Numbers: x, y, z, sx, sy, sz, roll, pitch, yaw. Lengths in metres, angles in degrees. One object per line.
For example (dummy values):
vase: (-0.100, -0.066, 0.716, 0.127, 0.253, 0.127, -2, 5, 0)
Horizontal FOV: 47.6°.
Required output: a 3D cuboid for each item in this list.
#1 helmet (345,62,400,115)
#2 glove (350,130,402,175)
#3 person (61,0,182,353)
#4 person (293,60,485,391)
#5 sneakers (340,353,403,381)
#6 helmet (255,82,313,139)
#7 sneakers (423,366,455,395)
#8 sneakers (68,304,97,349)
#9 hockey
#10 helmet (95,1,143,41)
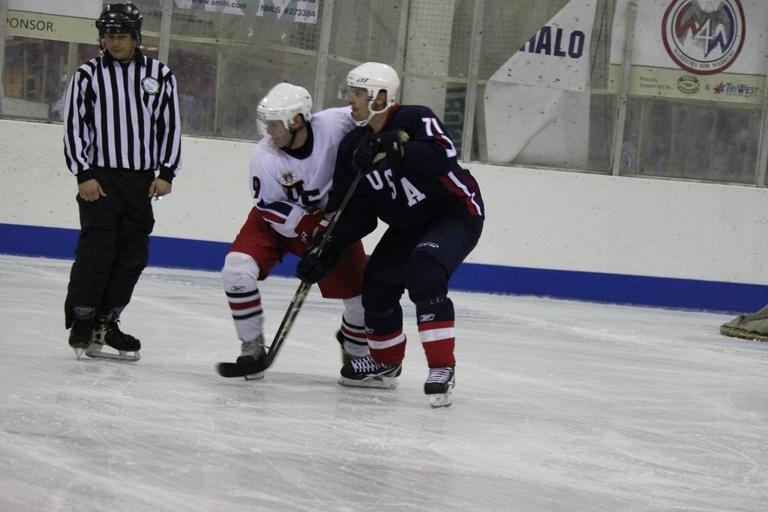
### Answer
helmet: (-0.038, -0.739, 3.943, 0.243, 0.180, 0.178, 6, -4, -7)
glove: (-0.021, -0.461, 3.792, 0.222, 0.176, 0.081, 5, 12, -2)
person: (-1.238, -0.348, 4.119, 0.532, 1.654, 0.438, 2, 13, -18)
person: (0.027, -0.108, 3.931, 0.774, 1.476, 0.461, 8, 13, 11)
sneakers: (-0.085, 0.526, 4.144, 0.326, 0.138, 0.108, 7, -9, -5)
helmet: (-0.478, -0.635, 3.995, 0.280, 0.242, 0.235, -18, 19, -33)
sneakers: (0.245, 0.544, 3.859, 0.121, 0.118, 0.157, 7, 12, 8)
sneakers: (-1.407, 0.334, 4.071, 0.081, 0.235, 0.108, 3, -9, -27)
hockey: (-0.433, 0.113, 4.283, 0.147, 1.332, 0.206, 26, -10, 34)
helmet: (-1.242, -1.121, 4.171, 0.186, 0.189, 0.201, 1, 8, 0)
